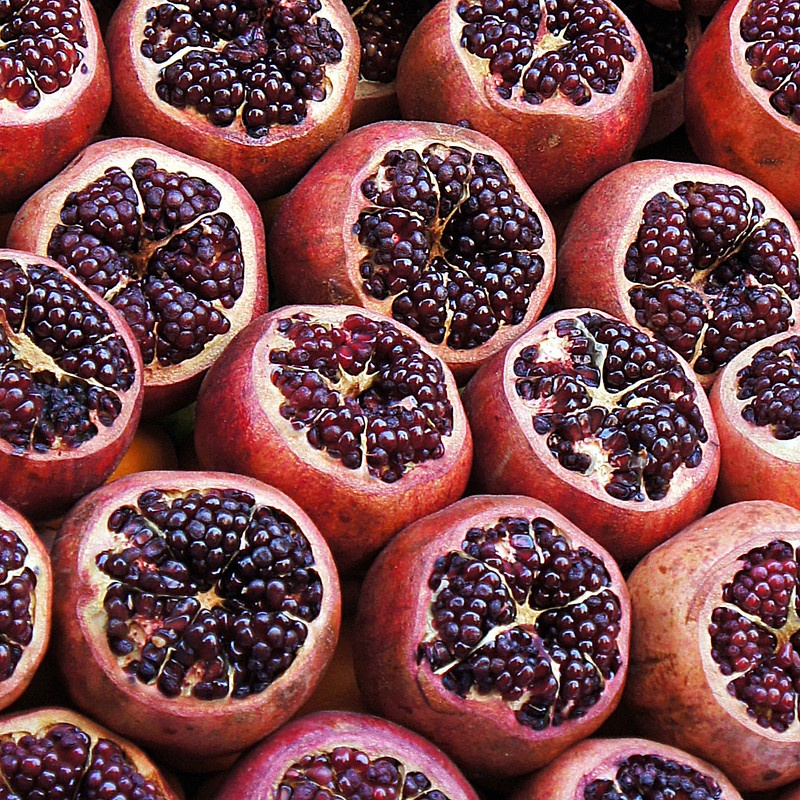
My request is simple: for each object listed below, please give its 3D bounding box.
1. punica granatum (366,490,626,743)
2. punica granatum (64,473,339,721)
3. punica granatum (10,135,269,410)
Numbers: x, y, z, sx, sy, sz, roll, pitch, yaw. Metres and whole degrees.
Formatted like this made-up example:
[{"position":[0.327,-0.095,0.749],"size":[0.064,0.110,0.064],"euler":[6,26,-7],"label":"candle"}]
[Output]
[{"position":[0.146,0.342,1.422],"size":[0.416,0.228,0.372],"euler":[5,51,1],"label":"punica granatum"},{"position":[-0.259,0.253,1.292],"size":[0.324,0.137,0.320],"euler":[-14,52,-15],"label":"punica granatum"},{"position":[-0.432,-0.218,1.681],"size":[0.514,0.332,0.452],"euler":[-1,97,-5],"label":"punica granatum"}]
